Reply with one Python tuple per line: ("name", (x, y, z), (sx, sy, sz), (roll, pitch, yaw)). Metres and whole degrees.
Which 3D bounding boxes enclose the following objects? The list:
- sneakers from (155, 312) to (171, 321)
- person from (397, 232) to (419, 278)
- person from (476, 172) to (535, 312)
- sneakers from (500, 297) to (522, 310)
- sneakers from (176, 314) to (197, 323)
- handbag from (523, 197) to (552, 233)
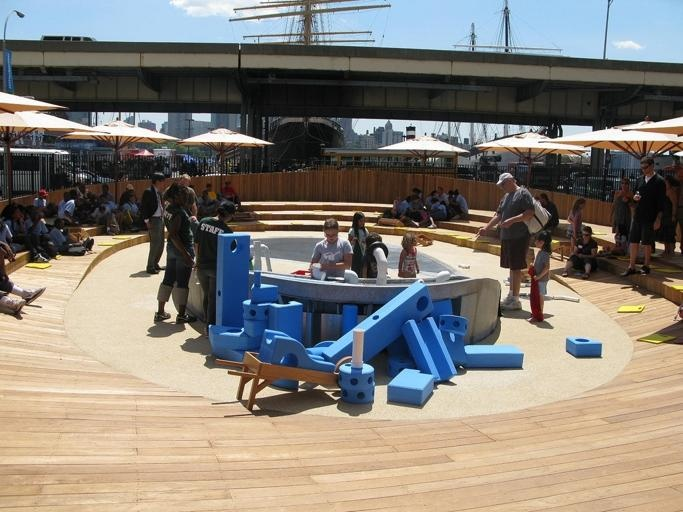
("sneakers", (-2.734, 0.937, 10.003), (0.095, 0.131, 0.286), (1, 7, 13))
("person", (1.123, -0.036, 10.773), (0.294, 0.756, 0.720), (3, 8, 6))
("person", (2.818, -0.219, 10.877), (0.669, 2.335, 0.944), (4, 8, 13))
("sneakers", (2.883, 0.817, 11.147), (0.433, 0.213, 0.163), (3, -2, -23))
("sneakers", (-2.355, 0.970, 9.932), (0.271, 0.133, 0.115), (-3, 8, -19))
("handbag", (3.253, -0.645, 10.654), (0.319, 0.569, 0.796), (6, 9, 26))
